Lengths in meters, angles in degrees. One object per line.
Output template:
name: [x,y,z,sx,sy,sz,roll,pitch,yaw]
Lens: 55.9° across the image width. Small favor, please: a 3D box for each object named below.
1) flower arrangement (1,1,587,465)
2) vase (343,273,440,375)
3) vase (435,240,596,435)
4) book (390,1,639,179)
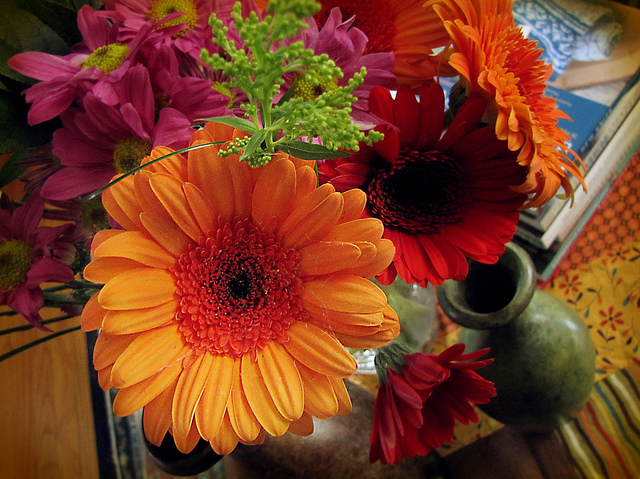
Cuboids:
flower arrangement: [-0.059,-0.097,0.848,0.569,0.631,0.551,38,-42,-1]
vase: [0.124,0.120,0.998,0.168,0.177,0.174,-10,-13,8]
vase: [0.305,0.153,0.914,0.189,0.186,0.293,16,-26,52]
book: [0.435,-0.342,1.322,0.396,0.396,0.095,33,-7,19]
